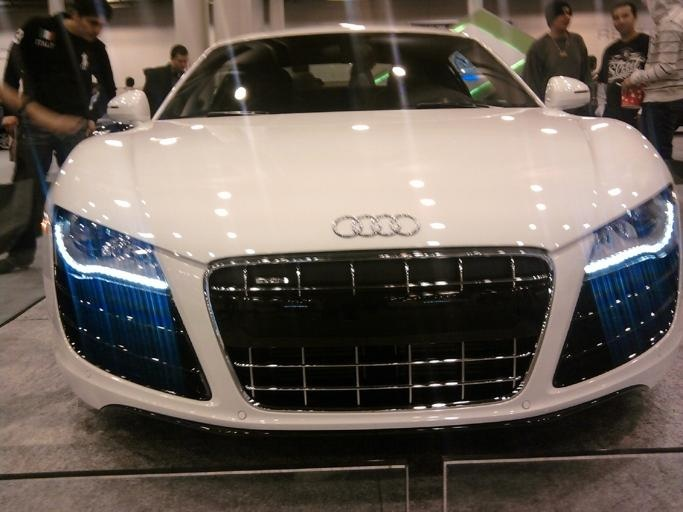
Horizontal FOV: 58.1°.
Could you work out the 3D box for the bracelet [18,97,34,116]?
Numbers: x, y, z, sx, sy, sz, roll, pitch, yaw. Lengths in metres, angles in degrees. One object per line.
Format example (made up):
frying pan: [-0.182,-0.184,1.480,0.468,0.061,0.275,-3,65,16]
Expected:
bracelet: [-1.300,-0.609,2.537,0.015,0.058,0.058,29,1,-44]

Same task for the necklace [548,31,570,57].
necklace: [1.898,-1.833,5.339,0.149,0.216,0.049,0,-13,-11]

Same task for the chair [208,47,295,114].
chair: [-0.386,-0.803,2.864,0.438,0.284,0.128,-3,8,-9]
